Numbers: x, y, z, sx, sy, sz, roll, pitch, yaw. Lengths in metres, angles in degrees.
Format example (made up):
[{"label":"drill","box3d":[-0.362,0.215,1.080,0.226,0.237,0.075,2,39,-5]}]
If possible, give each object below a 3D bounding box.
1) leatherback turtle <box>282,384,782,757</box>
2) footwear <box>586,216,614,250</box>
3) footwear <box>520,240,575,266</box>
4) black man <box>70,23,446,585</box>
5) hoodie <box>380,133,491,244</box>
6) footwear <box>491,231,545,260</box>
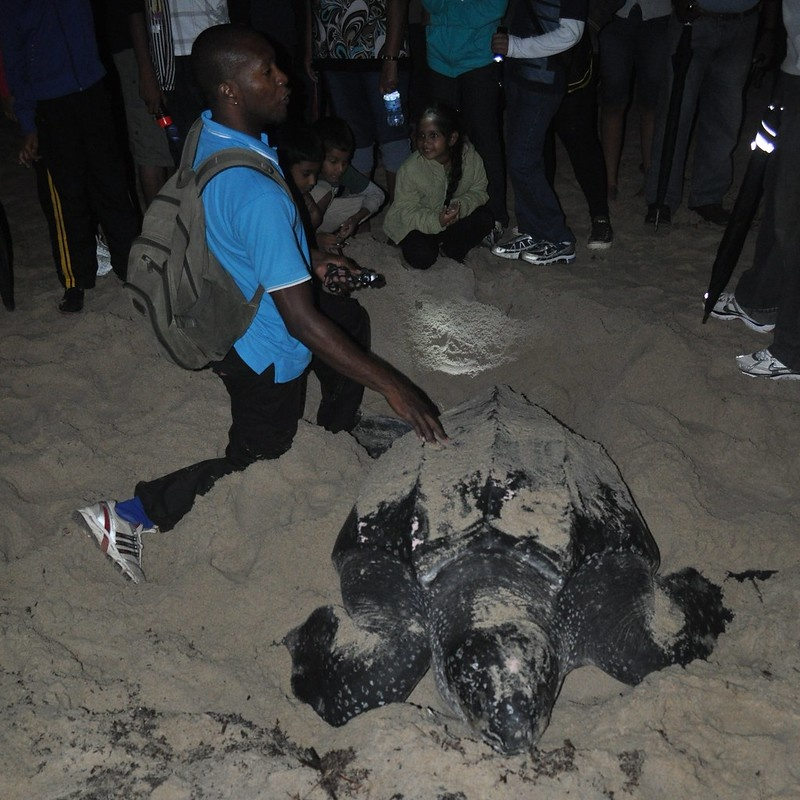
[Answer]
[{"label":"leatherback turtle","box3d":[0.319,0.573,2.535,1.423,0.525,1.093,-9,37,-12]},{"label":"footwear","box3d":[1.231,-1.013,4.687,0.088,0.107,0.258,2,36,16]},{"label":"footwear","box3d":[0.876,-0.858,4.527,0.293,0.153,0.129,1,19,0]},{"label":"black man","box3d":[-0.365,-0.205,3.012,1.079,2.257,0.972,6,25,11]},{"label":"hoodie","box3d":[0.217,-1.328,4.477,0.375,0.699,0.432,16,30,31]},{"label":"footwear","box3d":[0.714,-0.912,4.590,0.300,0.143,0.121,-6,38,7]}]
